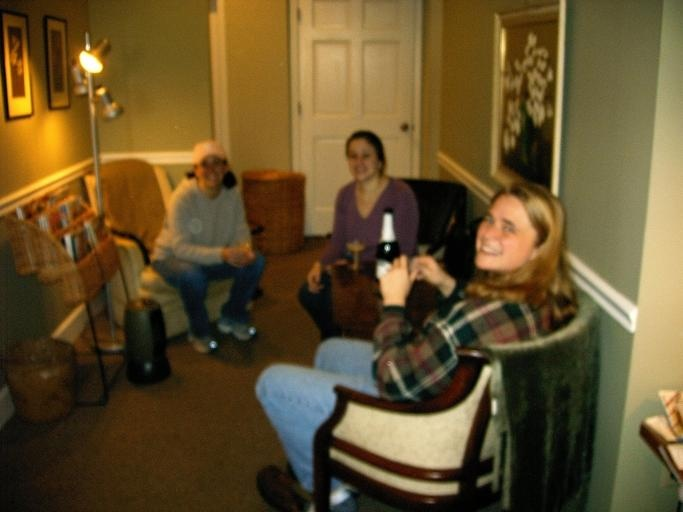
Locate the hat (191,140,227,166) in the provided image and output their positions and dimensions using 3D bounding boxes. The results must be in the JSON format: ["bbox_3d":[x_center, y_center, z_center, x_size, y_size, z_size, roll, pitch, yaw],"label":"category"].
[{"bbox_3d":[-0.847,-0.673,3.568,0.196,0.168,0.148,-3,20,-9],"label":"hat"}]

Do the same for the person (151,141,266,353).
[{"bbox_3d":[-0.872,-0.048,3.626,0.713,1.340,0.576,-9,20,-20],"label":"person"}]

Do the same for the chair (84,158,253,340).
[{"bbox_3d":[-1.447,-0.119,4.150,1.042,1.469,1.265,-10,17,-41],"label":"chair"}]

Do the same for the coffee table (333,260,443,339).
[{"bbox_3d":[0.099,0.215,2.702,0.362,0.143,0.390,0,37,7],"label":"coffee table"}]

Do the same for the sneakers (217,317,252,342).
[{"bbox_3d":[-0.726,0.504,3.877,0.232,0.112,0.123,10,8,12],"label":"sneakers"}]

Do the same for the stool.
[{"bbox_3d":[-1.568,0.659,2.943,0.324,0.386,0.282,-16,23,-33],"label":"stool"}]

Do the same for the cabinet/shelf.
[{"bbox_3d":[-1.565,0.247,3.145,0.430,1.186,0.800,-1,29,-8],"label":"cabinet/shelf"}]

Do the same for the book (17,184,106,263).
[{"bbox_3d":[-1.481,-0.184,3.079,0.295,0.141,0.403,16,16,-1],"label":"book"}]

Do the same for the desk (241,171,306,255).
[{"bbox_3d":[-0.731,-0.466,5.864,0.655,0.794,0.696,-1,9,-3],"label":"desk"}]

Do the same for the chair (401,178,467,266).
[{"bbox_3d":[0.521,-0.260,3.701,0.393,0.580,0.461,-1,3,1],"label":"chair"}]
